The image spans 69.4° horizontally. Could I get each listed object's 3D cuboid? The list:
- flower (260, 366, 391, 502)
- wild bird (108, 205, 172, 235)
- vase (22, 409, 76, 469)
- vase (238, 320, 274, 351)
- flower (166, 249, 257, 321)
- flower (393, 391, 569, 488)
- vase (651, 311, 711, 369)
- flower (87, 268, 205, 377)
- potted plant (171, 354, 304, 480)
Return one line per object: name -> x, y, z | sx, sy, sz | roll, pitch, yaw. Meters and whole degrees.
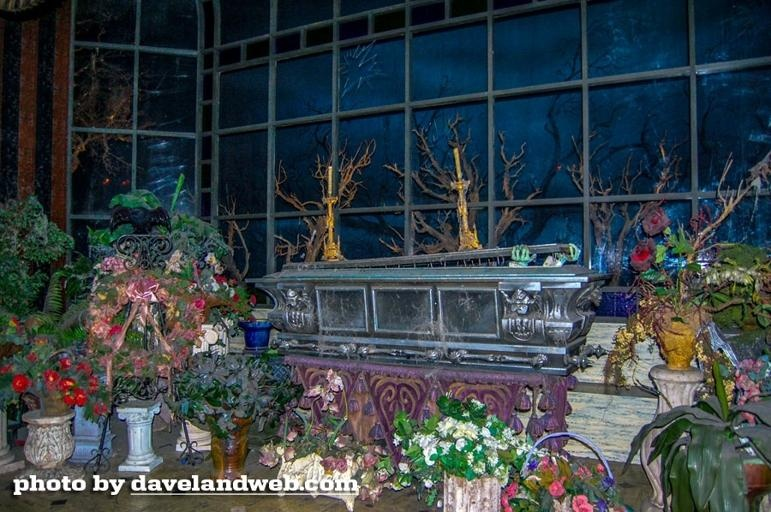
flower -> -0.532, 1.706, 5.278 | 1.184, 1.029, 0.735 | 6, 1, 27
wild bird -> -2.492, -0.363, 5.685 | 0.358, 0.219, 0.105 | 9, 36, -5
vase -> -3.410, 1.917, 5.758 | 0.452, 0.519, 0.465 | -7, -16, 19
vase -> -1.596, 1.009, 6.945 | 0.451, 0.349, 0.395 | 6, -14, -39
flower -> -2.040, 0.299, 6.312 | 0.692, 0.567, 0.777 | -8, 22, 31
flower -> 0.734, 1.469, 4.702 | 1.026, 0.631, 0.812 | -9, 7, -43
vase -> 2.662, 0.747, 5.050 | 0.495, 0.560, 0.438 | 9, -8, -35
flower -> -2.359, 0.657, 5.528 | 1.046, 1.064, 0.445 | 5, -5, -28
potted plant -> -1.520, 1.602, 5.954 | 1.399, 1.344, 1.185 | 3, -8, -19
